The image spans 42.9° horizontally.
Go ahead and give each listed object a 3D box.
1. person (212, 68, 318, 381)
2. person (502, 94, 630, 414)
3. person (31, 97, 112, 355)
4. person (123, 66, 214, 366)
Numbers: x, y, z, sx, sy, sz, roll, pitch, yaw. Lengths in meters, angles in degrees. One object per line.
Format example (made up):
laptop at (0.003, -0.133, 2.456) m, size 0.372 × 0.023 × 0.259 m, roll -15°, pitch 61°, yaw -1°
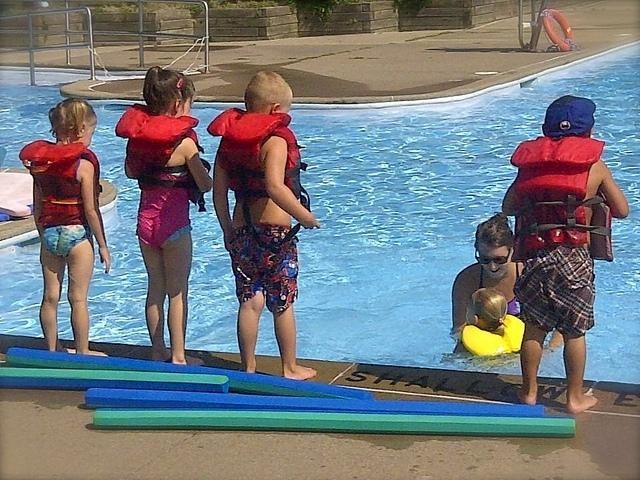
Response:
person at (-0.328, -0.086, 5.050) m, size 0.599 × 1.944 × 0.715 m, roll -5°, pitch 15°, yaw -11°
person at (1.458, 0.050, 4.840) m, size 0.702 × 1.846 × 0.749 m, roll -1°, pitch 14°, yaw 7°
person at (-1.641, -0.069, 5.295) m, size 0.512 × 1.730 × 0.499 m, roll -6°, pitch 15°, yaw -13°
person at (-0.977, -0.160, 5.303) m, size 0.552 × 1.933 × 0.466 m, roll -6°, pitch 15°, yaw -12°
